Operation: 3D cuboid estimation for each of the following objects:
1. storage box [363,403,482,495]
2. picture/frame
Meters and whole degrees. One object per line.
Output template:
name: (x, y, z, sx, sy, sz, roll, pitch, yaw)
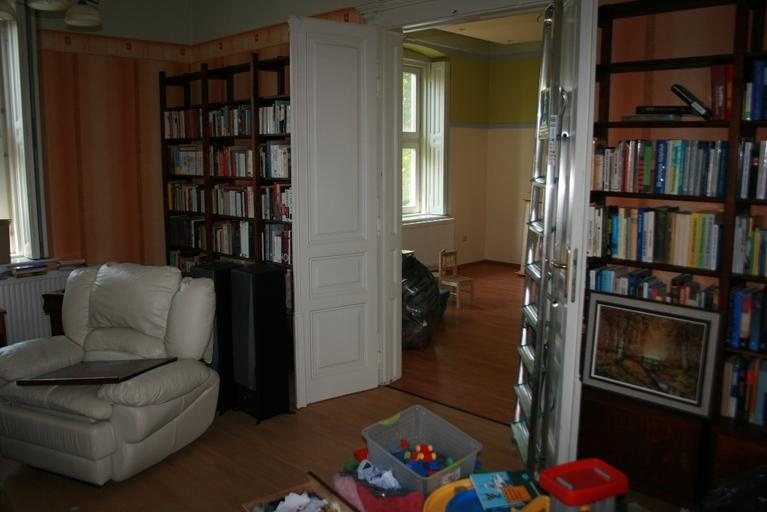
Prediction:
storage box: (0.327, 1.320, 3.879, 0.474, 0.212, 0.595, -16, 25, -39)
picture/frame: (1.942, 0.713, 4.029, 0.932, 0.816, 0.063, 8, 8, 33)
